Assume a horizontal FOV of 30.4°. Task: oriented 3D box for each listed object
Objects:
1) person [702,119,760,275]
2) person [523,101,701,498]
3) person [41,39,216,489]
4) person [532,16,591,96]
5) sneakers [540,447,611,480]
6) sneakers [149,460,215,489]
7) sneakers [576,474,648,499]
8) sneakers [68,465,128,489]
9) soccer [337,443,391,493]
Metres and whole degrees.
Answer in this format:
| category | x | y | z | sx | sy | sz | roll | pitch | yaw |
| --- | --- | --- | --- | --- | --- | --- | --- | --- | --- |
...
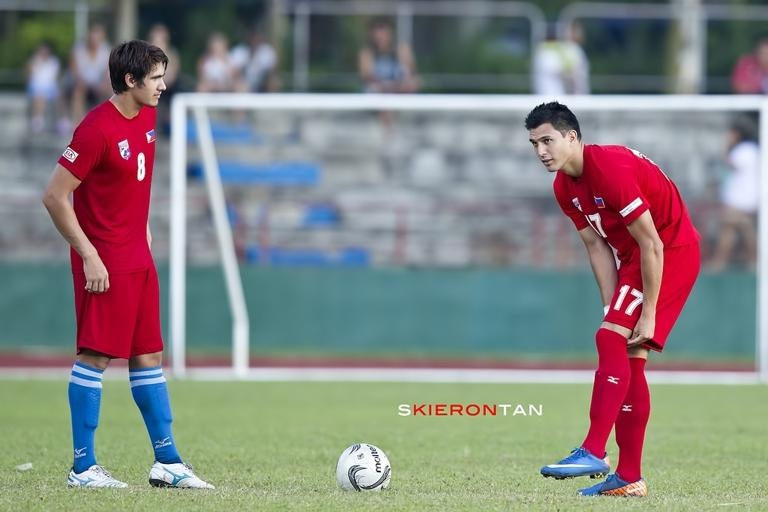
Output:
| category | x | y | z | sx | sy | sz | roll | pitch | yaw |
| --- | --- | --- | --- | --- | --- | --- | --- | --- | --- |
| person | 4.401 | -0.766 | 17.497 | 0.571 | 1.794 | 0.287 | -2 | 8 | -17 |
| person | 1.934 | 0.346 | 11.816 | 1.349 | 3.236 | 0.981 | 2 | 8 | 12 |
| person | -2.246 | 0.066 | 11.788 | 1.029 | 3.698 | 0.691 | -2 | 8 | -14 |
| person | 2.399 | -2.675 | 19.000 | 0.764 | 0.937 | 1.326 | 1 | 8 | 7 |
| sneakers | 1.608 | 1.731 | 11.797 | 0.635 | 0.296 | 0.233 | 2 | -21 | -5 |
| sneakers | -1.664 | 1.848 | 11.959 | 0.590 | 0.243 | 0.209 | 5 | -10 | 1 |
| sneakers | 1.933 | 1.929 | 11.871 | 0.625 | 0.233 | 0.213 | 2 | -13 | -2 |
| sneakers | -2.425 | 1.832 | 11.895 | 0.543 | 0.223 | 0.197 | 3 | -4 | 1 |
| soccer | -0.166 | 1.778 | 12.027 | 0.406 | 0.416 | 0.384 | -1 | 6 | 6 |
